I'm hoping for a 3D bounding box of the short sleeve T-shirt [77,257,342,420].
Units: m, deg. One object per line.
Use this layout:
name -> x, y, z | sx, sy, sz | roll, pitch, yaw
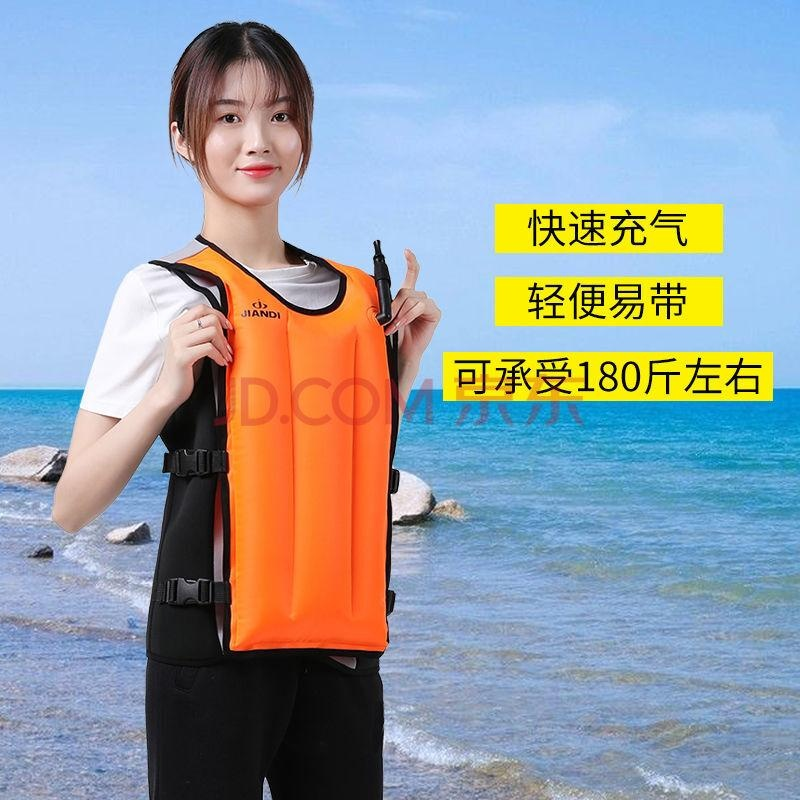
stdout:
short sleeve T-shirt -> -0.548, -0.152, 3.324 | 0.574, 0.254, 0.161 | -14, 2, -25
